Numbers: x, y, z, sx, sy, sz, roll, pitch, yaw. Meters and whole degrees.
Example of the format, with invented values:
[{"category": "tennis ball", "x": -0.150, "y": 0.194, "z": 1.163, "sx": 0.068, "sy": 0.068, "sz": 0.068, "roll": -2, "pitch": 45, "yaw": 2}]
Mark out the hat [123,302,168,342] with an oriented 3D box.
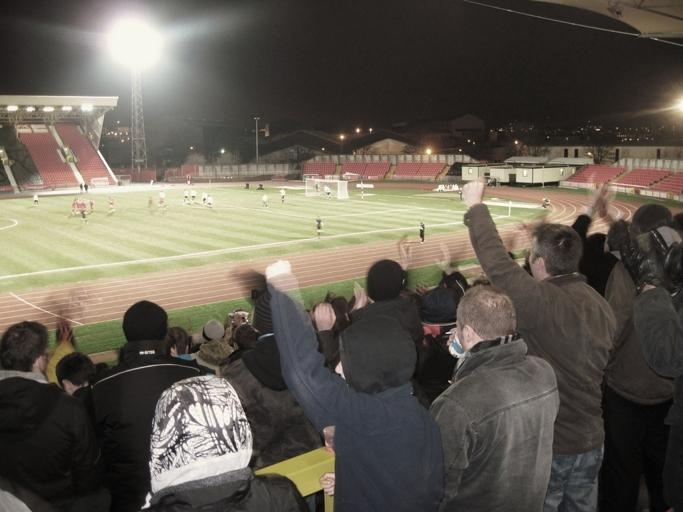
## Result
[{"category": "hat", "x": -1.529, "y": 0.477, "z": 4.045, "sx": 0.280, "sy": 0.285, "sz": 0.364, "roll": -2, "pitch": 21, "yaw": -16}]
